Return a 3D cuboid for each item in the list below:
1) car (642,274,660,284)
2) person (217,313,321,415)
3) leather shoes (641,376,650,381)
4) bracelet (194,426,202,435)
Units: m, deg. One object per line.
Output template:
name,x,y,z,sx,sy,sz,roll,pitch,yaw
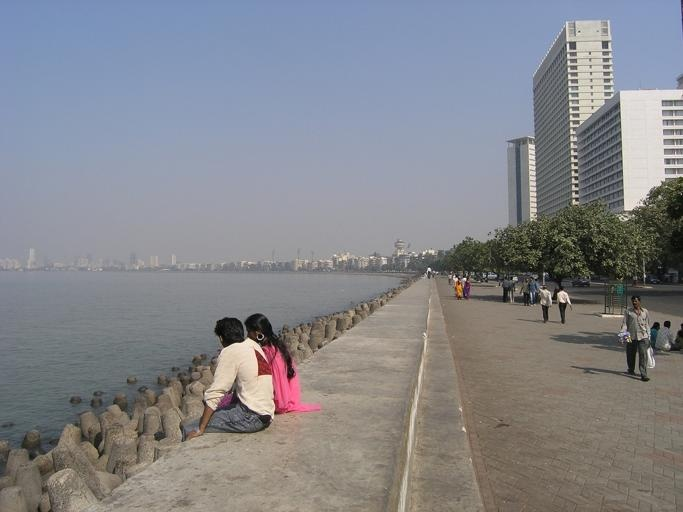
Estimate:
car,41.581,3.090,75.766,1.085,0.997,2.020,1,8,21
person,-1.137,1.581,8.202,1.285,1.432,0.989,-3,2,-19
leather shoes,6.685,2.700,12.410,0.141,0.114,0.171,-10,-2,27
bracelet,-1.898,2.312,7.447,0.053,0.063,0.145,0,-2,-24
